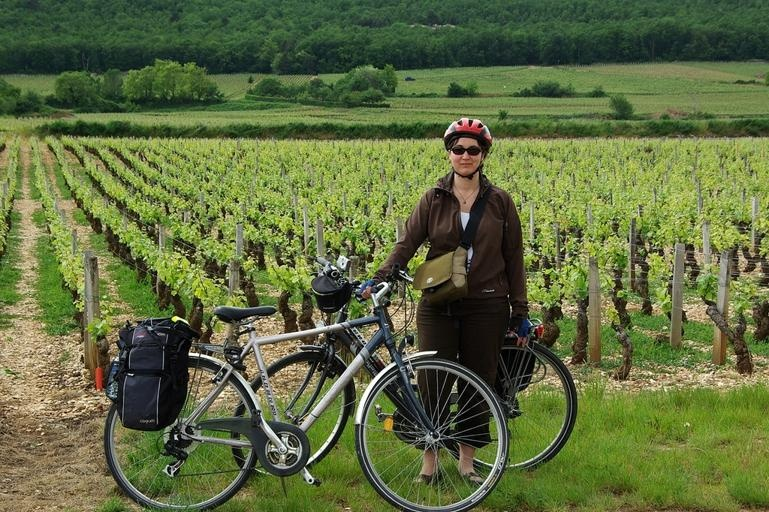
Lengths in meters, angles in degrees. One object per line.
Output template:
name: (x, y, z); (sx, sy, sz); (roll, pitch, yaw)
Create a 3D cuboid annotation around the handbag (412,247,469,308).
handbag: (0.625, 0.240, 8.640); (0.561, 0.600, 0.331); (-19, -21, 37)

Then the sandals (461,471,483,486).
sandals: (0.960, 2.445, 8.702); (0.123, 0.098, 0.290); (-12, 24, -22)
